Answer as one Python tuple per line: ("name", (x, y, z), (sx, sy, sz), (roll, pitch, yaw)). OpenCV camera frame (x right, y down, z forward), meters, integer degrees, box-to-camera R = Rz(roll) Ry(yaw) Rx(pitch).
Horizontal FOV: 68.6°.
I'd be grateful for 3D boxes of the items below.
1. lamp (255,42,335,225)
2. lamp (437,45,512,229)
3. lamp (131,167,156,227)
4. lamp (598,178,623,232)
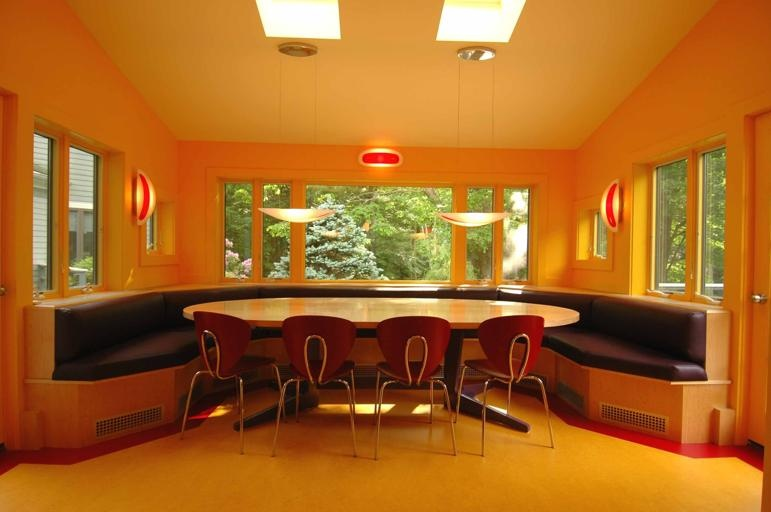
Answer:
("lamp", (-0.856, -1.168, 5.622), (0.960, 1.652, 0.989), (13, 19, 41))
("lamp", (0.963, -1.197, 5.913), (0.618, 1.847, 1.391), (2, 8, 11))
("lamp", (-2.632, -0.643, 6.177), (0.219, 0.570, 0.161), (-3, 8, -20))
("lamp", (2.522, -0.566, 6.253), (0.220, 0.548, 0.143), (2, 8, 17))
